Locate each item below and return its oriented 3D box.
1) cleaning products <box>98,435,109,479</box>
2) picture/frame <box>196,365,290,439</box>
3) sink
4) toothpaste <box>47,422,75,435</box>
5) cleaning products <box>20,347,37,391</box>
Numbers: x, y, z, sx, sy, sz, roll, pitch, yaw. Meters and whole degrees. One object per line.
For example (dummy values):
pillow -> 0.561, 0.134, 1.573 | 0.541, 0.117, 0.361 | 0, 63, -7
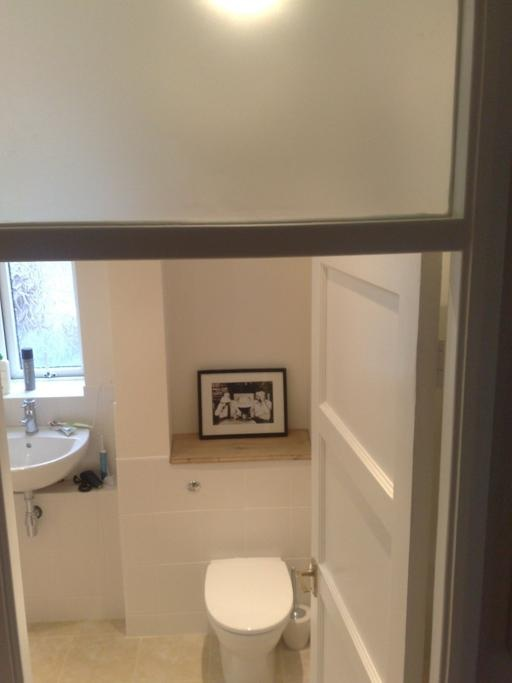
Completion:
cleaning products -> -0.646, 0.481, 2.393 | 0.044, 0.167, 0.090 | -9, 13, -18
picture/frame -> -0.075, 0.257, 2.432 | 0.266, 0.251, 0.014 | -1, -3, -5
sink -> -0.788, 0.435, 2.137 | 0.324, 0.148, 0.306 | -3, 21, -7
toothpaste -> -0.802, 0.345, 2.346 | 0.089, 0.023, 0.053 | 21, 30, 27
cleaning products -> -0.966, 0.114, 2.415 | 0.054, 0.185, 0.076 | -10, 14, -23
